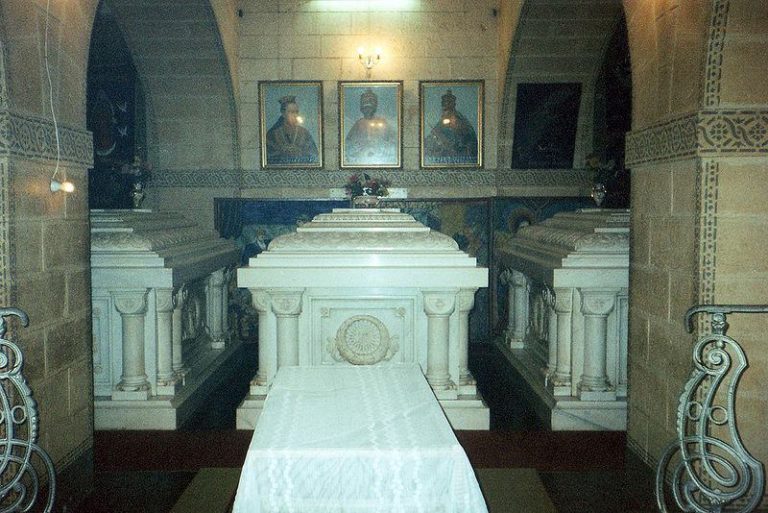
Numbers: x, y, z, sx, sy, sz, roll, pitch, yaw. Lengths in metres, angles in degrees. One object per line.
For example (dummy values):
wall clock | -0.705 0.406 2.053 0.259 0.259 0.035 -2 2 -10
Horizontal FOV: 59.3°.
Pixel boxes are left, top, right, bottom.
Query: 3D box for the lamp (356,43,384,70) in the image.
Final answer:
lamp | -0.158 -2.449 8.285 0.319 0.250 0.135 -1 -3 -8

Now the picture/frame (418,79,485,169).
picture/frame | 0.829 -1.635 8.366 0.765 1.029 0.227 -1 12 -7

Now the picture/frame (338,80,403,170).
picture/frame | -0.167 -1.672 8.362 1.072 1.296 0.091 -1 5 -4

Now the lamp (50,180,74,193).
lamp | -2.075 -0.447 4.363 0.069 0.073 0.121 27 16 0
